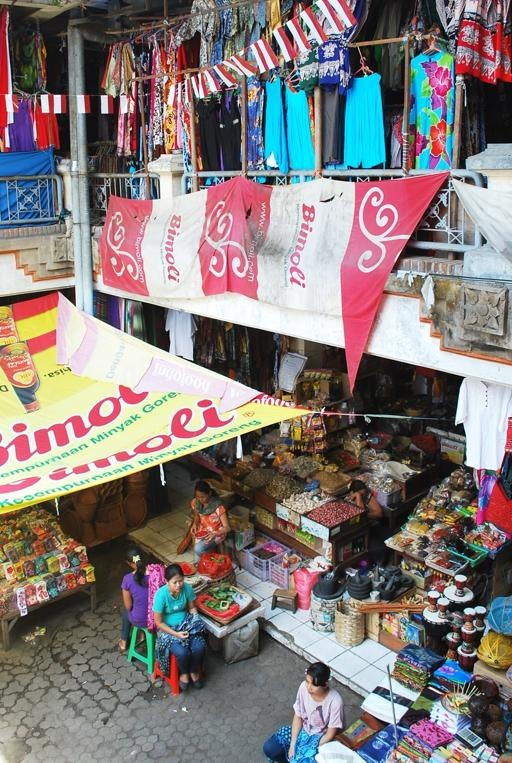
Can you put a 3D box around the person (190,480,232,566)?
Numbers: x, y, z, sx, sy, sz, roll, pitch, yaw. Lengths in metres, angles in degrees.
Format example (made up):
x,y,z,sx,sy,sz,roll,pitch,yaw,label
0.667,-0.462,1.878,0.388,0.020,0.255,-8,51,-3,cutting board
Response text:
x,y,z,sx,sy,sz,roll,pitch,yaw,label
-0.536,1.672,7.259,0.415,1.024,0.638,-5,13,-9,person

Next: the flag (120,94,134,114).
x,y,z,sx,sy,sz,roll,pitch,yaw,label
-1.857,-3.979,8.913,0.257,0.254,0.066,8,16,39,flag

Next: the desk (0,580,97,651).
x,y,z,sx,sy,sz,roll,pitch,yaw,label
-2.235,2.497,6.636,0.206,0.241,0.726,5,14,42,desk

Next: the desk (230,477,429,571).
x,y,z,sx,sy,sz,roll,pitch,yaw,label
0.849,1.644,7.470,1.313,0.564,1.315,-17,26,-33,desk

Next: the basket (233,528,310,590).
x,y,z,sx,sy,sz,roll,pitch,yaw,label
0.189,2.182,7.581,0.384,0.251,0.671,-11,25,-34,basket

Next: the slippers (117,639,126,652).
x,y,z,sx,sy,sz,roll,pitch,yaw,label
-1.378,2.717,6.424,0.072,0.149,0.044,6,11,22,slippers

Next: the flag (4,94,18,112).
x,y,z,sx,sy,sz,roll,pitch,yaw,label
-3.286,-3.751,8.379,0.151,0.247,0.428,-7,14,-20,flag

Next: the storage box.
x,y,z,sx,sy,sz,roll,pitch,yaw,label
0.139,2.006,7.678,0.580,0.359,1.062,-20,32,-35,storage box

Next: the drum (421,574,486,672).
x,y,z,sx,sy,sz,roll,pitch,yaw,label
1.704,2.105,5.399,0.411,0.783,0.482,13,54,17,drum

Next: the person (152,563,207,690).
x,y,z,sx,sy,sz,roll,pitch,yaw,label
-0.694,2.219,5.643,0.440,1.366,0.437,-5,13,-10,person

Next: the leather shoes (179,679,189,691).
x,y,z,sx,sy,sz,roll,pitch,yaw,label
-0.664,2.825,5.807,0.062,0.044,0.115,3,0,-33,leather shoes

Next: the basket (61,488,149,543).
x,y,z,sx,sy,sz,roll,pitch,yaw,label
-1.983,1.745,8.194,1.091,0.965,0.382,-9,14,-25,basket

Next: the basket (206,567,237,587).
x,y,z,sx,sy,sz,roll,pitch,yaw,label
-0.364,2.069,6.729,0.235,0.250,0.243,-2,-16,0,basket

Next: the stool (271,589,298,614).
x,y,z,sx,sy,sz,roll,pitch,yaw,label
0.321,2.463,7.034,0.297,0.199,0.204,-2,13,2,stool

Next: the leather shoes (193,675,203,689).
x,y,z,sx,sy,sz,roll,pitch,yaw,label
-0.544,2.803,5.843,0.053,0.040,0.149,-1,9,-17,leather shoes

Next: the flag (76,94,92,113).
x,y,z,sx,sy,sz,roll,pitch,yaw,label
-2.440,-3.936,8.810,0.157,0.258,0.511,-4,14,-7,flag
